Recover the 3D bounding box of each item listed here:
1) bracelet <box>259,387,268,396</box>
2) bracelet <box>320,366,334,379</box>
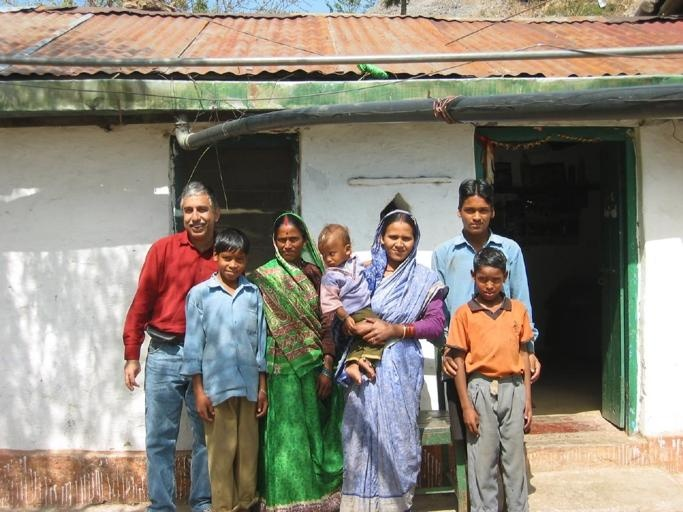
[{"bbox_3d":[-0.647,1.134,8.240,0.050,0.066,0.024,5,-5,-21],"label":"bracelet"},{"bbox_3d":[-0.124,0.977,8.284,0.085,0.065,0.088,2,-23,46],"label":"bracelet"}]
